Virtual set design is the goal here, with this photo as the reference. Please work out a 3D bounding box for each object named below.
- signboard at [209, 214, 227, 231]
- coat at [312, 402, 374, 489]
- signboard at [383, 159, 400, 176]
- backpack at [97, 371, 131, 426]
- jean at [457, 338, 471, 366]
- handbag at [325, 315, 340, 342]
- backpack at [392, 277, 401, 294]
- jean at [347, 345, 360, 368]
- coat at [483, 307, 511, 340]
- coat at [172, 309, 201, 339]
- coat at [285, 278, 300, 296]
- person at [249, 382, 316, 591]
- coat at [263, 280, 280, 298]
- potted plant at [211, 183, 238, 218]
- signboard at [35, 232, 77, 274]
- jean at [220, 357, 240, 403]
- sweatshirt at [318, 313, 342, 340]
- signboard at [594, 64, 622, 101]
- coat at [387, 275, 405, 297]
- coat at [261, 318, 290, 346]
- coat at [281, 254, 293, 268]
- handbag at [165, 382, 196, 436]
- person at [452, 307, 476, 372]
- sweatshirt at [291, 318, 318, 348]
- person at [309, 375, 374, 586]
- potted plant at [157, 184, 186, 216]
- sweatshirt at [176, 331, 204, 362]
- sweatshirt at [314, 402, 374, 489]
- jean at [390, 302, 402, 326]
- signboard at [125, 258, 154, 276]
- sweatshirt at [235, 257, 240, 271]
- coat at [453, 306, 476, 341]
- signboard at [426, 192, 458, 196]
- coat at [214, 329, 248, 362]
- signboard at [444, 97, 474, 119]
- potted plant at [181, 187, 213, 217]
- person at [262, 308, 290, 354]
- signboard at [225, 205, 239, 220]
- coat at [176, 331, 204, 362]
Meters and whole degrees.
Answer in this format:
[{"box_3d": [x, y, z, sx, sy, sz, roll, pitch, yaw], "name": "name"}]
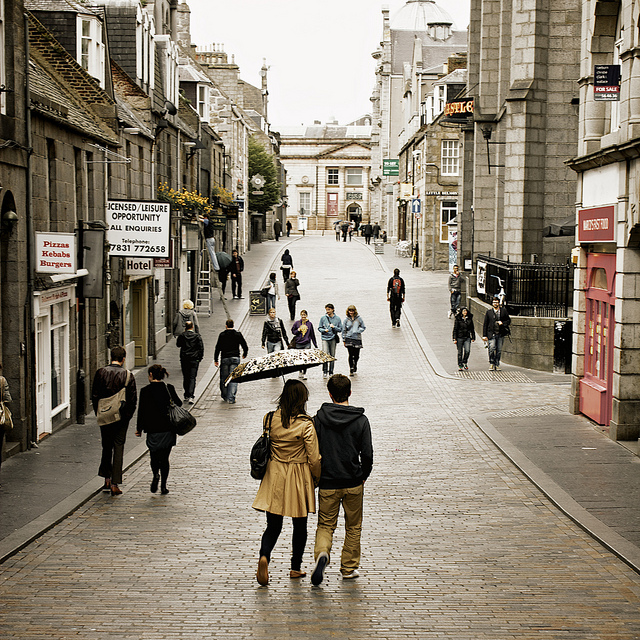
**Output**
[{"box_3d": [-3.708, -3.596, 39.054, 0.573, 0.649, 0.600, -1, 3, -5], "name": "signboard"}, {"box_3d": [0.212, 1.206, 10.008, 0.554, 0.813, 0.275, 0, 4, 0], "name": "coat"}, {"box_3d": [4.604, -9.819, 68.207, 1.011, 1.080, 2.083, 0, 5, 2], "name": "signboard"}, {"box_3d": [-2.606, 1.085, 13.357, 0.468, 0.569, 0.339, -2, -6, -8], "name": "backpack"}, {"box_3d": [3.362, 0.745, 24.601, 0.299, 0.665, 0.433, 1, 5, 10], "name": "jean"}, {"box_3d": [0.281, 0.203, 23.680, 0.143, 0.574, 0.088, -27, 5, -40], "name": "handbag"}, {"box_3d": [2.261, -0.983, 30.926, 0.394, 0.660, 0.330, 1, 2, 0], "name": "backpack"}, {"box_3d": [0.754, 0.823, 23.700, 0.251, 0.537, 0.280, 0, 5, -2], "name": "jean"}, {"box_3d": [4.005, 0.069, 24.408, 0.819, 1.023, 0.544, 0, 0, 0], "name": "coat"}, {"box_3d": [-2.868, 0.104, 22.725, 0.711, 0.815, 0.318, 3, 37, 6], "name": "coat"}, {"box_3d": [-0.893, -1.019, 33.517, 0.536, 0.754, 0.439, 1, -4, -17], "name": "coat"}, {"box_3d": [-0.341, 1.560, 9.976, 0.597, 1.952, 0.389, 0, 4, -5], "name": "person"}, {"box_3d": [-1.500, -1.025, 34.562, 0.479, 0.795, 0.668, 1, 6, -9], "name": "coat"}, {"box_3d": [-4.031, -5.126, 46.005, 1.254, 0.745, 2.021, 2, 12, -8], "name": "potted plant"}, {"box_3d": [-4.079, -1.024, 16.325, 0.558, 0.647, 0.058, 1, -4, -25], "name": "signboard"}, {"box_3d": [-1.769, 1.178, 20.844, 0.345, 0.932, 0.879, 0, 5, -6], "name": "jean"}, {"box_3d": [0.202, 0.166, 23.831, 0.561, 0.767, 0.473, -1, -1, -10], "name": "sweatshirt"}, {"box_3d": [4.729, -3.898, 17.399, 0.403, 0.598, 0.391, 1, 5, 14], "name": "signboard"}, {"box_3d": [2.249, -1.002, 31.180, 0.392, 0.633, 0.615, 1, -30, 2], "name": "coat"}, {"box_3d": [-1.002, 0.300, 23.977, 0.582, 0.853, 0.256, -2, -2, -16], "name": "coat"}, {"box_3d": [-1.372, -2.446, 43.064, 0.502, 0.623, 0.333, 7, 21, 20], "name": "coat"}, {"box_3d": [-1.804, 1.114, 13.357, 0.264, 0.719, 0.313, -25, -10, -13], "name": "handbag"}, {"box_3d": [3.362, 0.423, 24.702, 0.480, 1.523, 1.847, 1, 5, 8], "name": "person"}, {"box_3d": [-0.351, 0.263, 22.917, 0.414, 0.604, 0.789, 1, 5, 10], "name": "sweatshirt"}, {"box_3d": [0.196, 1.537, 10.038, 0.563, 2.012, 0.505, 0, 4, -6], "name": "person"}, {"box_3d": [-4.310, -3.507, 31.051, 0.781, 0.885, 2.320, 0, 5, -7], "name": "potted plant"}, {"box_3d": [-2.477, 0.488, 20.765, 0.534, 0.668, 0.511, 2, 15, 1], "name": "sweatshirt"}, {"box_3d": [0.169, 1.149, 10.151, 0.531, 0.802, 0.656, 1, 7, -8], "name": "sweatshirt"}, {"box_3d": [2.296, -0.160, 31.749, 0.282, 0.744, 0.605, 0, 5, 3], "name": "jean"}, {"box_3d": [-4.021, -1.195, 23.905, 0.354, 0.359, 0.783, 5, 7, 44], "name": "signboard"}, {"box_3d": [-3.034, -2.011, 39.157, 0.163, 0.440, 0.580, 0, 5, -5], "name": "sweatshirt"}, {"box_3d": [3.303, 0.099, 24.217, 0.477, 0.789, 0.884, 1, 5, 7], "name": "coat"}, {"box_3d": [6.289, -6.415, 54.179, 1.413, 0.161, 0.308, 2, 5, 15], "name": "signboard"}, {"box_3d": [-1.794, 0.559, 21.457, 0.590, 1.147, 0.363, 3, 25, 9], "name": "coat"}, {"box_3d": [4.918, -7.329, 36.831, 0.752, 0.309, 0.740, -2, 4, -21], "name": "signboard"}, {"box_3d": [-3.895, -3.588, 33.011, 0.954, 0.804, 1.261, 1, 5, -5], "name": "potted plant"}, {"box_3d": [-0.974, 0.443, 23.046, 0.556, 1.468, 0.494, 3, 27, 8], "name": "person"}, {"box_3d": [-3.727, -4.575, 45.448, 0.786, 0.686, 0.842, 0, -8, -4], "name": "signboard"}, {"box_3d": [-2.493, 0.468, 20.762, 0.539, 0.696, 0.510, 1, 15, 2], "name": "coat"}]
